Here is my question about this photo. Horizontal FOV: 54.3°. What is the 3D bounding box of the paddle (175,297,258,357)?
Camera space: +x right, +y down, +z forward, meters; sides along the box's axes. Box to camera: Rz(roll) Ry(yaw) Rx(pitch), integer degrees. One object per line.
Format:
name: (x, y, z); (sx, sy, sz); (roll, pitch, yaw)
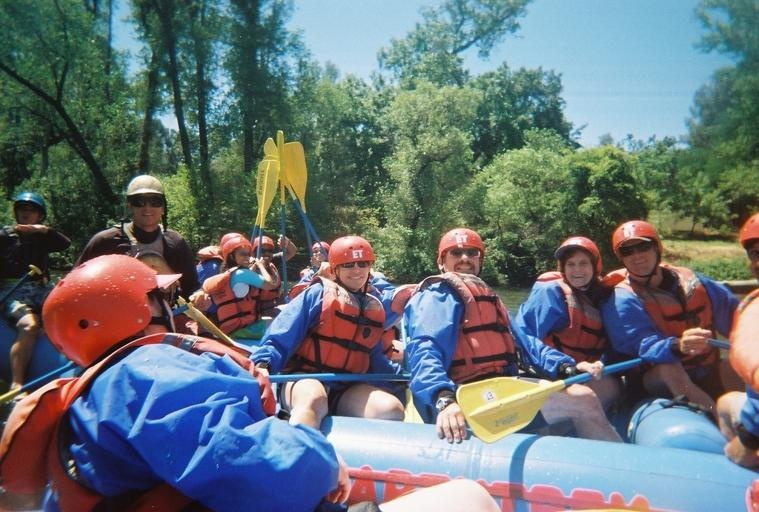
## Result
paddle: (-2.108, 0.880, 9.497); (0.143, 0.837, 0.212); (-28, 27, 13)

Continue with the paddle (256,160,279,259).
paddle: (-1.818, -0.825, 11.768); (0.327, 1.717, 0.202); (5, -2, -33)

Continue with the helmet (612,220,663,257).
helmet: (3.301, -0.270, 9.584); (0.393, 0.462, 0.580); (-15, -3, 20)

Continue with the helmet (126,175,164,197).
helmet: (-3.082, -0.934, 9.682); (0.428, 0.282, 0.404); (-7, 4, -43)

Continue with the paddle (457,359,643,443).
paddle: (1.613, 1.593, 8.318); (2.132, 0.615, 0.094); (-15, -14, -22)

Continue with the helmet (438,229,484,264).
helmet: (1.017, -0.214, 9.520); (0.432, 0.389, 0.485); (2, -24, 0)

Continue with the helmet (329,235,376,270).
helmet: (-0.348, -0.061, 9.210); (0.366, 0.407, 0.486); (-1, 7, -19)

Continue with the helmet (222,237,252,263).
helmet: (-2.226, -0.138, 11.403); (0.412, 0.322, 0.298); (-35, -26, 24)

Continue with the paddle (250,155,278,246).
paddle: (-1.825, -0.853, 11.785); (0.393, 1.865, 0.091); (5, -11, 2)

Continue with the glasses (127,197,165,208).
glasses: (-3.024, -0.706, 9.615); (0.446, 0.164, 0.142); (-5, 4, -21)
